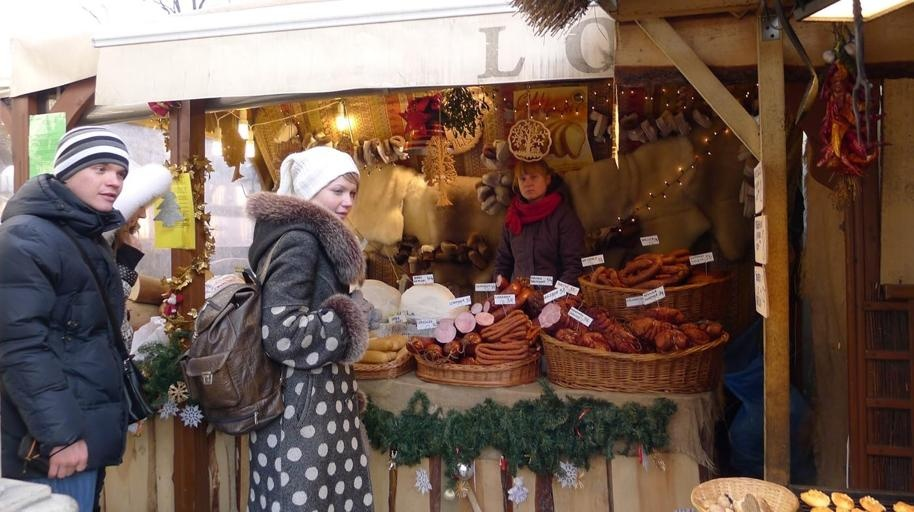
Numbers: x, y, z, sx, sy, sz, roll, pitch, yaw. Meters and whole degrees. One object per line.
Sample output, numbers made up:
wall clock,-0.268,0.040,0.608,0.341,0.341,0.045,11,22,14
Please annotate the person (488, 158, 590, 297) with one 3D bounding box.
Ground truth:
person,0.801,-0.284,8.101,0.640,1.328,0.950,0,2,37

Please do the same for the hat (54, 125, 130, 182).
hat,-2.768,-0.789,6.567,0.489,0.384,0.380,-3,-1,-4
